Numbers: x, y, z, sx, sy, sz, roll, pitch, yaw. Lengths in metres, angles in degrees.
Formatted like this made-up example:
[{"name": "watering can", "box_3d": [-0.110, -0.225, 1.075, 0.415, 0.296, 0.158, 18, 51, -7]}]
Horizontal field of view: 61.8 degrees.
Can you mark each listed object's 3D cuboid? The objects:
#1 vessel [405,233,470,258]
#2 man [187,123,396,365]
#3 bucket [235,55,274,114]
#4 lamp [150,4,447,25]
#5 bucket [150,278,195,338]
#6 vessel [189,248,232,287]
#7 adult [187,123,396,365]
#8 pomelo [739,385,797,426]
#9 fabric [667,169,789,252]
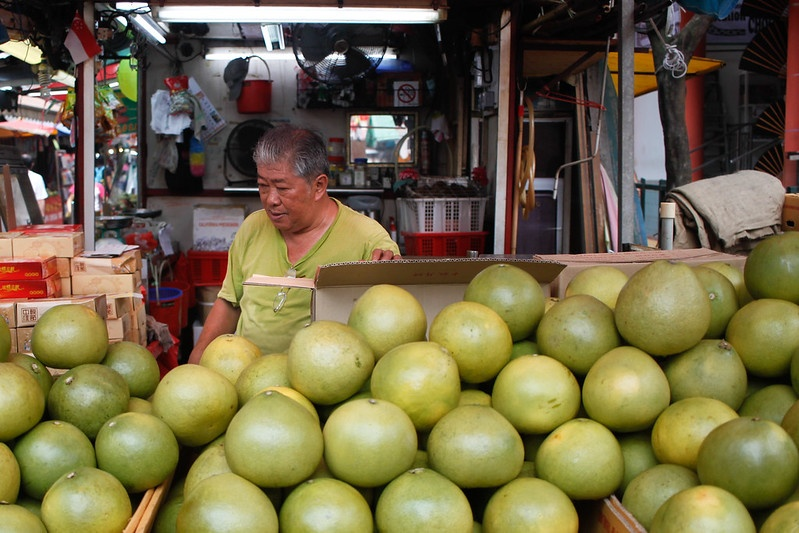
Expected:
[{"name": "vessel", "box_3d": [0.306, -0.175, 5.284, 0.521, 0.215, 0.305, 0, 15, 5]}, {"name": "man", "box_3d": [-0.493, 0.135, 3.285, 0.989, 1.655, 0.687, 7, 15, 13]}, {"name": "bucket", "box_3d": [-1.551, -1.956, 7.150, 0.392, 0.625, 0.283, -4, 14, -13]}, {"name": "lamp", "box_3d": [-0.617, -1.605, 4.216, 1.807, 0.098, 0.296, -1, 15, 0]}, {"name": "bucket", "box_3d": [-1.940, 0.344, 5.727, 0.383, 0.340, 0.418, 0, 8, 0]}, {"name": "vessel", "box_3d": [-1.801, -0.024, 6.370, 0.395, 0.294, 0.665, -1, 9, -7]}, {"name": "adult", "box_3d": [-0.496, 0.143, 3.285, 0.972, 1.660, 0.679, 8, 16, 17]}, {"name": "pomelo", "box_3d": [1.117, 0.408, 1.994, 0.107, 0.083, 0.139, -16, -3, 18]}, {"name": "fabric", "box_3d": [1.876, -0.249, 3.782, 0.466, 0.206, 0.501, -9, 40, 5]}]
